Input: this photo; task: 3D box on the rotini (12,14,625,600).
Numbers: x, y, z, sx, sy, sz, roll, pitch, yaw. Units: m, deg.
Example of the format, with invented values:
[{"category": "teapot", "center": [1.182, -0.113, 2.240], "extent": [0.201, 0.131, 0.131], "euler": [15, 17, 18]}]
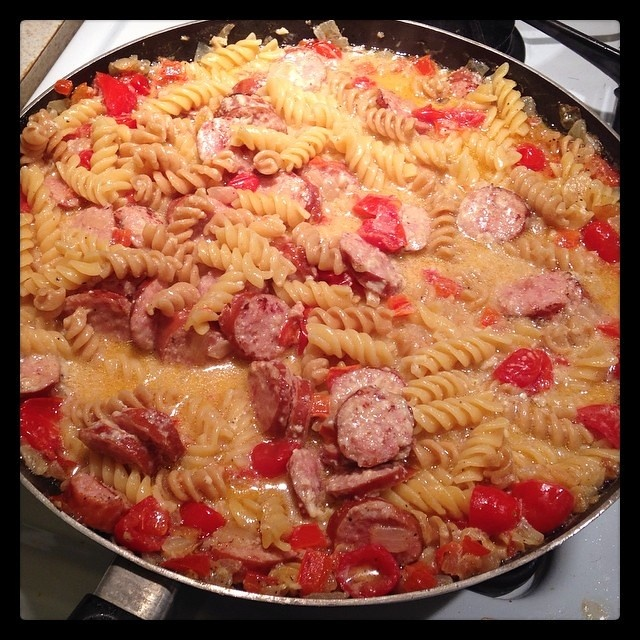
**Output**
[{"category": "rotini", "center": [-0.142, -0.662, 6.042], "extent": [5.220, 1.800, 5.477], "euler": [8, 43, 2]}]
